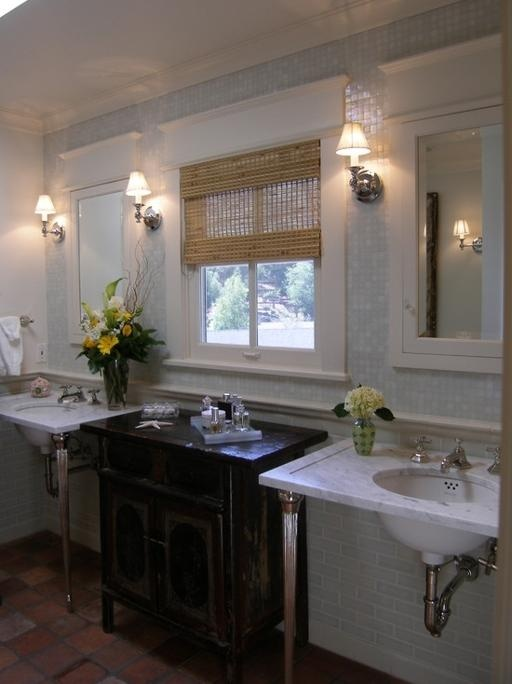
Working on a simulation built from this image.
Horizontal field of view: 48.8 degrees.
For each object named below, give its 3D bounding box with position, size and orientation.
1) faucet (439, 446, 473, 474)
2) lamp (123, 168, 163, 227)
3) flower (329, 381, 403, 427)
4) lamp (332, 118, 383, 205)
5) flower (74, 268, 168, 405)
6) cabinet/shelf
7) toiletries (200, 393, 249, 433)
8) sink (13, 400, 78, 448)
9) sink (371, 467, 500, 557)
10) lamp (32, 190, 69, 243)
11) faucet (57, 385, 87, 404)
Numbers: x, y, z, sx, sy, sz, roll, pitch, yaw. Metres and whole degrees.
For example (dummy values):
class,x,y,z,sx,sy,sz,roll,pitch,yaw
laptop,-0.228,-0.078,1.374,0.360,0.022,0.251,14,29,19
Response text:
class,x,y,z,sx,sy,sz,roll,pitch,yaw
faucet,0.625,0.366,1.768,0.063,0.072,0.110,-2,2,44
lamp,-0.581,-0.727,2.945,0.165,0.296,0.356,-2,4,-9
flower,0.395,0.200,1.986,0.165,0.102,0.165,1,1,-43
lamp,0.357,-0.655,2.072,0.188,0.264,0.251,0,5,25
flower,-0.788,-0.025,3.055,0.379,0.729,0.624,-5,5,-35
cabinet/shelf,-0.223,0.803,2.288,0.901,0.901,0.422,2,6,40
toiletries,-0.137,0.288,2.245,0.176,0.188,0.119,8,-11,-44
sink,-1.148,0.495,3.077,0.298,0.229,0.311,4,5,42
sink,0.531,0.493,1.686,0.280,0.213,0.330,6,7,39
lamp,-1.326,-0.790,3.565,0.171,0.321,0.283,-4,5,-32
faucet,-1.023,0.298,3.139,0.125,0.081,0.162,0,-3,18
